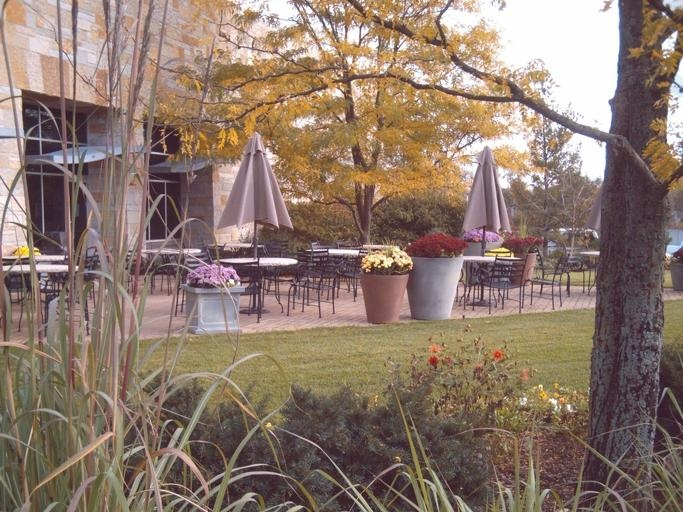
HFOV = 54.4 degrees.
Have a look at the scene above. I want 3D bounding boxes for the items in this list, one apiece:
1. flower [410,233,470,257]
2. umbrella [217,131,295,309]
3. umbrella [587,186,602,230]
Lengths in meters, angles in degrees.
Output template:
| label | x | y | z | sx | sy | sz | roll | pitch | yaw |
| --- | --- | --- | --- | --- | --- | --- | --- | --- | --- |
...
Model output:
| label | x | y | z | sx | sy | sz | roll | pitch | yaw |
| --- | --- | --- | --- | --- | --- | --- | --- | --- | --- |
| flower | 1.174 | -0.131 | 8.199 | 0.717 | 0.296 | 0.320 | 3 | 0 | 9 |
| umbrella | -1.031 | -0.907 | 8.053 | 0.858 | 1.523 | 0.521 | 2 | 0 | -12 |
| umbrella | 4.391 | -0.823 | 11.524 | 0.196 | 0.773 | 1.966 | 2 | -1 | 20 |
